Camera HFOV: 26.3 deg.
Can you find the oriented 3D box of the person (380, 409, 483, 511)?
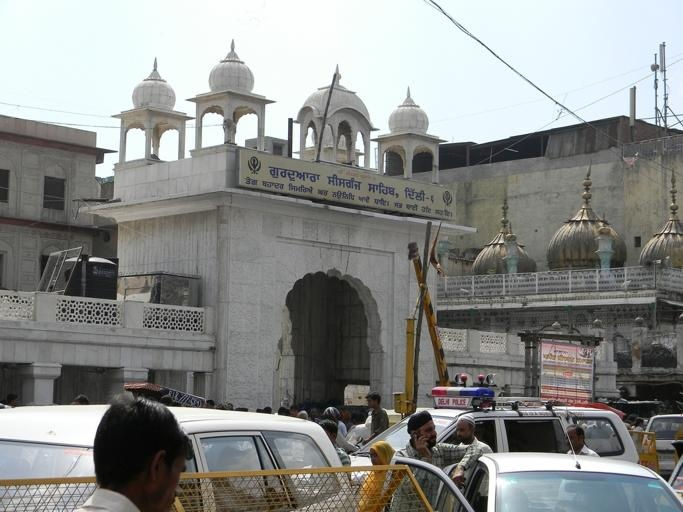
[{"bbox_3d":[1.307,2.877,20.346,1.206,1.380,0.477,4,-20,-30],"label":"person"}]

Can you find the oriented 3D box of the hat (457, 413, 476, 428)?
[{"bbox_3d":[1.924,2.499,22.240,0.324,0.234,0.224,6,-2,-43],"label":"hat"}]
